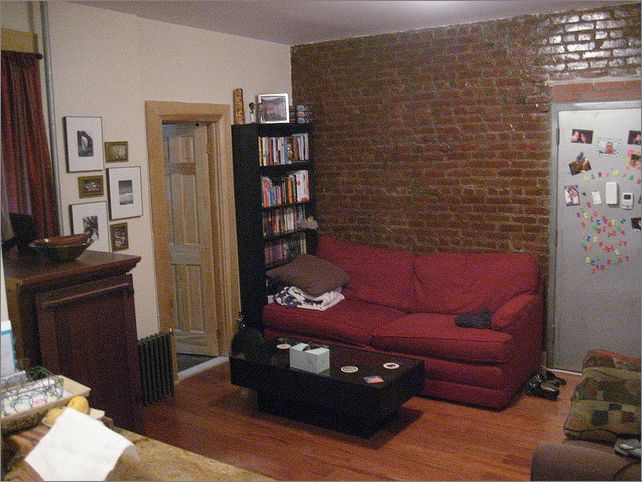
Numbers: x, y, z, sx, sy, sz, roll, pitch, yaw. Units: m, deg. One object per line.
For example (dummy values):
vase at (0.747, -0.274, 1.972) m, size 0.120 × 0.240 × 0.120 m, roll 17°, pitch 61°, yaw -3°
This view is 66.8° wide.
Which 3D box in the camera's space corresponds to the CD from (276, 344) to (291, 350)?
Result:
CD at (-0.347, 0.973, 4.507) m, size 0.095 × 0.011 × 0.078 m, roll -1°, pitch 6°, yaw -10°

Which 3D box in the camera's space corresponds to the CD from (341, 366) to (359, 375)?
CD at (0.231, 1.054, 3.961) m, size 0.139 × 0.006 × 0.130 m, roll -1°, pitch 10°, yaw 4°

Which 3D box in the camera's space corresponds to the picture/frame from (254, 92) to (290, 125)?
picture/frame at (-0.599, -1.510, 5.532) m, size 0.262 × 0.349 × 0.400 m, roll 10°, pitch 18°, yaw 44°

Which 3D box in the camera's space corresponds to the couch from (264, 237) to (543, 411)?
couch at (1.275, 0.747, 5.096) m, size 3.403 × 1.192 × 1.612 m, roll 3°, pitch 6°, yaw 28°

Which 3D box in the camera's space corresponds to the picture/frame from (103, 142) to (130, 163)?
picture/frame at (-1.833, -0.795, 4.340) m, size 0.030 × 0.147 × 0.268 m, roll 6°, pitch 8°, yaw 38°

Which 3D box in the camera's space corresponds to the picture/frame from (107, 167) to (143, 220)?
picture/frame at (-1.780, -0.435, 4.420) m, size 0.091 × 0.476 × 0.365 m, roll 3°, pitch 15°, yaw 25°

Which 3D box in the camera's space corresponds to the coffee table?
coffee table at (0.063, 1.270, 4.223) m, size 1.387 × 0.537 × 0.679 m, roll 4°, pitch 14°, yaw 30°

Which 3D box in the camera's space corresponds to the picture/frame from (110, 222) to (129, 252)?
picture/frame at (-1.819, -0.037, 4.390) m, size 0.044 × 0.259 × 0.185 m, roll 3°, pitch 15°, yaw 26°

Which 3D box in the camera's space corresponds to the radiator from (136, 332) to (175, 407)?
radiator at (-1.544, 1.196, 4.561) m, size 0.217 × 0.513 × 0.511 m, roll 2°, pitch 5°, yaw 32°

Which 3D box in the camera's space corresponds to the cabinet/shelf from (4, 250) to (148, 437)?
cabinet/shelf at (-1.676, 0.855, 3.467) m, size 0.276 × 1.422 × 0.887 m, roll 5°, pitch 16°, yaw 30°
